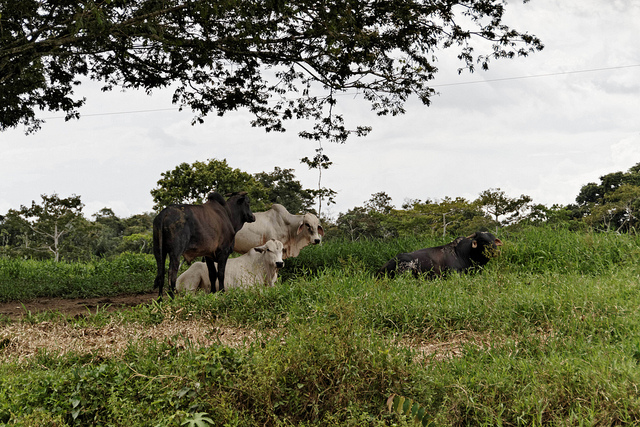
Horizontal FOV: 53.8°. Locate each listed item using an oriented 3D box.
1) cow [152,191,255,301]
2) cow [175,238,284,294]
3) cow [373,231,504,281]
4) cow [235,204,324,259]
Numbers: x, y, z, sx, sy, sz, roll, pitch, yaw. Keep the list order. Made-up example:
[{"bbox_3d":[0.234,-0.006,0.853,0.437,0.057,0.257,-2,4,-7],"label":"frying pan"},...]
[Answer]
[{"bbox_3d":[-2.341,0.602,12.963,0.825,2.126,2.873,-1,-1,34],"label":"cow"},{"bbox_3d":[-1.777,1.045,12.897,2.413,1.450,0.950,-2,-1,-1],"label":"cow"},{"bbox_3d":[2.569,0.871,12.958,2.501,0.956,1.200,0,-6,-22],"label":"cow"},{"bbox_3d":[-1.273,0.625,15.845,2.509,1.670,0.899,6,7,12],"label":"cow"}]
